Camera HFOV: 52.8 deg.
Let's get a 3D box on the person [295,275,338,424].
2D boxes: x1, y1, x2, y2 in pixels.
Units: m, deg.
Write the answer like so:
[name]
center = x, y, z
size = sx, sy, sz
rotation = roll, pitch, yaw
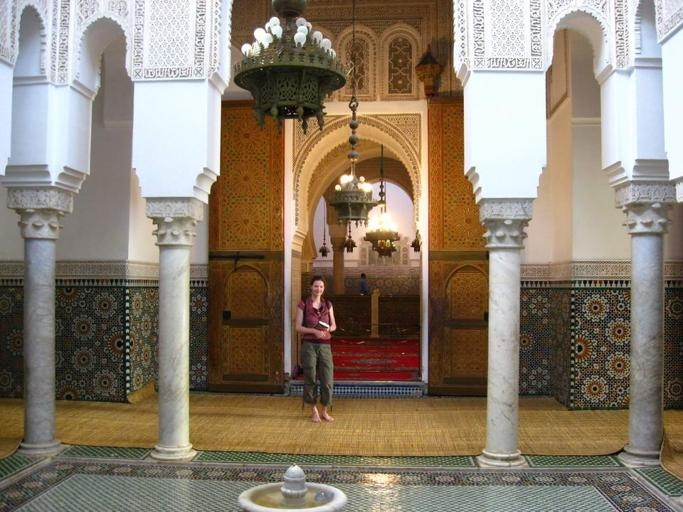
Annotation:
[person]
center = -0.219, 0.804, 6.037
size = 0.324, 1.259, 0.323
rotation = 0, 3, -4
